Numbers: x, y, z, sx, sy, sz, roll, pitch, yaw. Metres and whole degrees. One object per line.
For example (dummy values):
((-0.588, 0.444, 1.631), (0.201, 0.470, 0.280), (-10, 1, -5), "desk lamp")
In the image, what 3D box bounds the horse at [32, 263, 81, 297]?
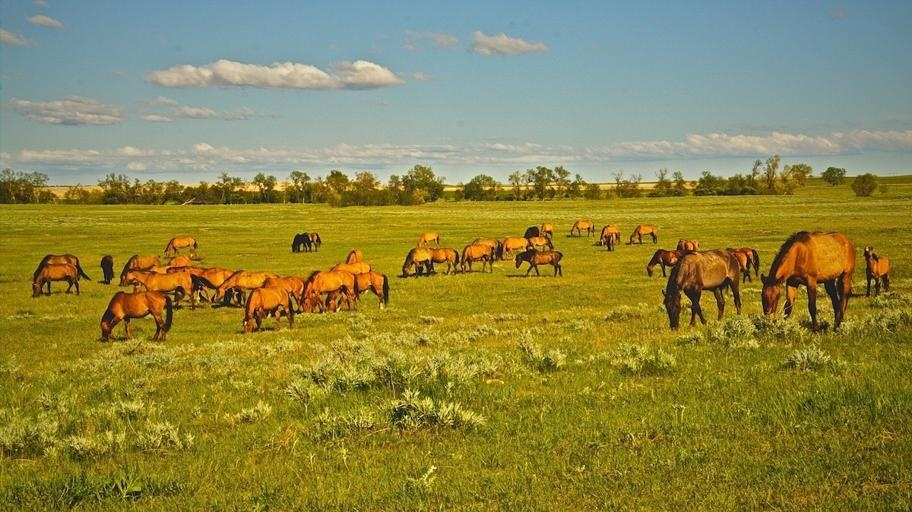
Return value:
((-26.547, 1.458, 58.196), (2.817, 1.975, 2.206), (-7, 12, -28), "horse")
